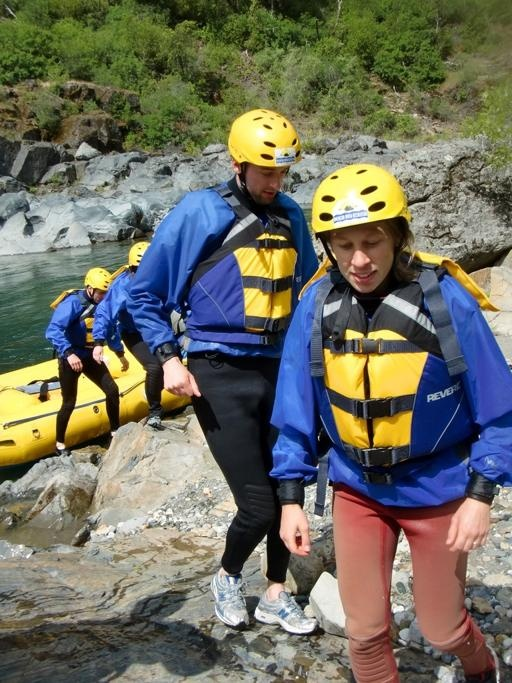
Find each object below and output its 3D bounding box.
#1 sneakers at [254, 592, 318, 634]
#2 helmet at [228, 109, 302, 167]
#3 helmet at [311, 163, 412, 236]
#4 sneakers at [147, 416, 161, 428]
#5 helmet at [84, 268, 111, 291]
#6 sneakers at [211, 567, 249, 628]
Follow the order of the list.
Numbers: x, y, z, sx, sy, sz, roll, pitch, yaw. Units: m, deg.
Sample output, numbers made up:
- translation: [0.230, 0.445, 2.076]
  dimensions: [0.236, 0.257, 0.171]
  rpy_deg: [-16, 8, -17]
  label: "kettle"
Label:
- translation: [0.125, 1.114, 2.430]
  dimensions: [0.287, 0.122, 0.116]
  rpy_deg: [1, -8, 39]
  label: "sneakers"
- translation: [0.028, -0.813, 2.438]
  dimensions: [0.272, 0.186, 0.315]
  rpy_deg: [-5, 42, -16]
  label: "helmet"
- translation: [0.300, -0.380, 1.658]
  dimensions: [0.201, 0.186, 0.261]
  rpy_deg: [-13, 24, 26]
  label: "helmet"
- translation: [-1.109, 0.879, 6.304]
  dimensions: [0.109, 0.056, 0.131]
  rpy_deg: [-1, 58, -9]
  label: "sneakers"
- translation: [-1.826, -0.749, 6.733]
  dimensions: [0.332, 0.253, 0.246]
  rpy_deg: [12, 27, 25]
  label: "helmet"
- translation: [-0.125, 1.055, 2.428]
  dimensions: [0.109, 0.110, 0.271]
  rpy_deg: [11, 18, -30]
  label: "sneakers"
